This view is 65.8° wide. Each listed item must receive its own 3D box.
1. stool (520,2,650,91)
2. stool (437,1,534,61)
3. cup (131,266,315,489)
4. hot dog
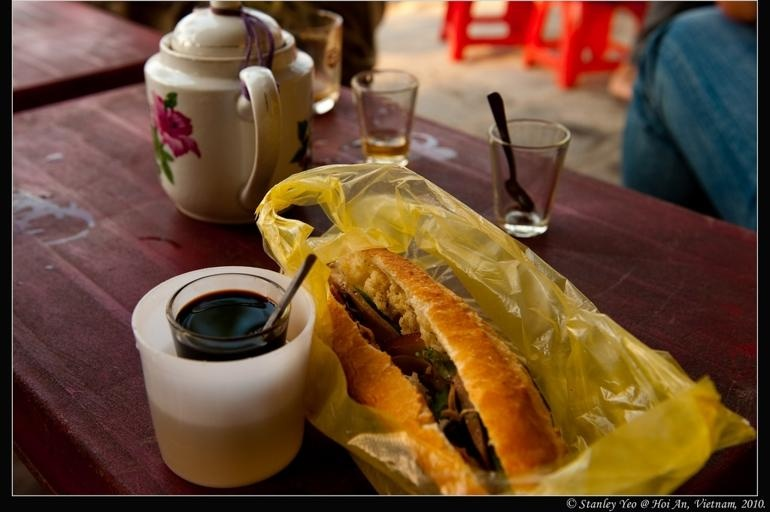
[{"bbox_3d":[0.940,-1.068,3.034,0.522,0.425,0.506,-16,37,-19],"label":"stool"},{"bbox_3d":[0.535,-1.258,3.184,0.423,0.286,0.408,-4,40,-7],"label":"stool"},{"bbox_3d":[-0.146,0.108,0.533,0.151,0.128,0.148,1,40,-1],"label":"cup"},{"bbox_3d":[0.057,0.115,0.641,0.135,0.083,0.272,-39,54,7],"label":"hot dog"}]
